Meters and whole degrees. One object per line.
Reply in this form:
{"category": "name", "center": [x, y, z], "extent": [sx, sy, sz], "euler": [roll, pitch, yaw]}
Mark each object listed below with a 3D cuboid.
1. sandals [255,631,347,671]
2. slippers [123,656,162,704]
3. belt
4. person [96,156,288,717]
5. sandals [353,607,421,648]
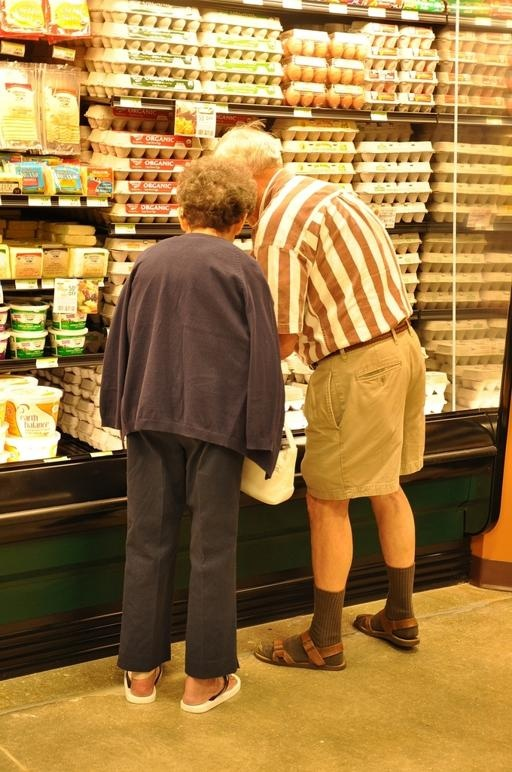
{"category": "sandals", "center": [0.136, 0.846, 1.821], "extent": [0.297, 0.116, 0.112], "euler": [4, -2, 18]}
{"category": "slippers", "center": [-0.313, 0.814, 1.584], "extent": [0.062, 0.055, 0.132], "euler": [5, 30, 3]}
{"category": "belt", "center": [0.309, -0.157, 1.647], "extent": [0.194, 0.059, 0.170], "euler": [-27, -2, -5]}
{"category": "person", "center": [-0.166, 0.153, 1.461], "extent": [0.368, 1.405, 0.511], "euler": [5, -6, -34]}
{"category": "sandals", "center": [0.462, 0.848, 2.080], "extent": [0.091, 0.109, 0.255], "euler": [3, 6, -37]}
